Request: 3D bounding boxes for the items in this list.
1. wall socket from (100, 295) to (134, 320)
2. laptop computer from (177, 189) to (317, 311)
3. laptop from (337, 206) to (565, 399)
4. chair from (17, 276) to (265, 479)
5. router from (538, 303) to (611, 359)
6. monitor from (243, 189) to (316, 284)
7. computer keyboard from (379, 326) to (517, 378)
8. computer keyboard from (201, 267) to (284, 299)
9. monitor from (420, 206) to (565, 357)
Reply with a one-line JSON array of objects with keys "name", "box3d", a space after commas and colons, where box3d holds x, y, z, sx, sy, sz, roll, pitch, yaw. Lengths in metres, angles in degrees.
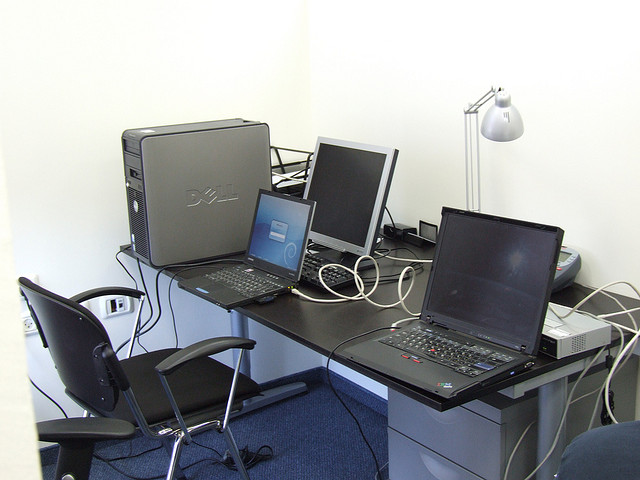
[{"name": "wall socket", "box3d": [-0.929, 0.298, 2.372, 0.123, 0.107, 0.062, -6, 15, -35]}, {"name": "laptop computer", "box3d": [-0.175, -0.019, 2.125, 0.581, 0.422, 0.691, -11, 15, -41]}, {"name": "laptop", "box3d": [0.345, 0.132, 1.378, 0.526, 0.347, 0.470, -13, 12, -42]}, {"name": "chair", "box3d": [-0.642, 0.489, 1.855, 0.582, 0.840, 0.659, -14, 21, -35]}, {"name": "router", "box3d": [0.660, 0.247, 1.473, 0.165, 0.065, 0.244, -11, 10, -10]}, {"name": "monitor", "box3d": [-0.124, -0.033, 2.003, 0.178, 0.338, 0.287, -11, 19, -40]}, {"name": "computer keyboard", "box3d": [0.326, 0.284, 1.373, 0.148, 0.074, 0.321, -11, 28, -43]}, {"name": "computer keyboard", "box3d": [-0.292, 0.109, 1.943, 0.337, 0.082, 0.254, -4, 15, -27]}, {"name": "monitor", "box3d": [0.470, 0.043, 1.534, 0.456, 0.364, 0.487, -6, 10, -29]}]
